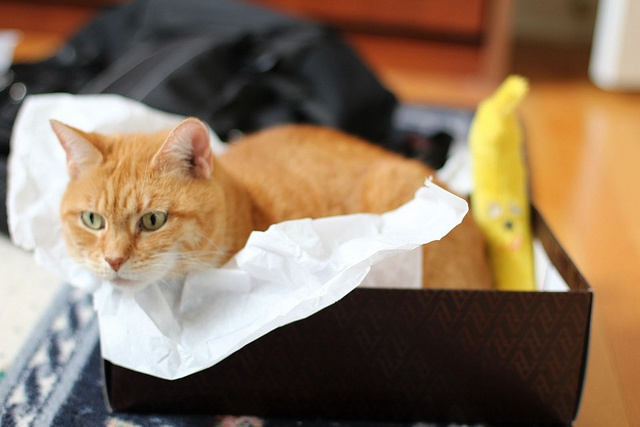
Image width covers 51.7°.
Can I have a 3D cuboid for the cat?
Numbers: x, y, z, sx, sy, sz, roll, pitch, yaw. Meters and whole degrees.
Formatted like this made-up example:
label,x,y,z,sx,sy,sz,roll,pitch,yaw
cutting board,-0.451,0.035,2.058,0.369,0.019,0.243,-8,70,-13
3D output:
label,x,y,z,sx,sy,sz,roll,pitch,yaw
cat,-0.132,-0.056,1.376,0.426,0.576,0.264,-3,-73,35
